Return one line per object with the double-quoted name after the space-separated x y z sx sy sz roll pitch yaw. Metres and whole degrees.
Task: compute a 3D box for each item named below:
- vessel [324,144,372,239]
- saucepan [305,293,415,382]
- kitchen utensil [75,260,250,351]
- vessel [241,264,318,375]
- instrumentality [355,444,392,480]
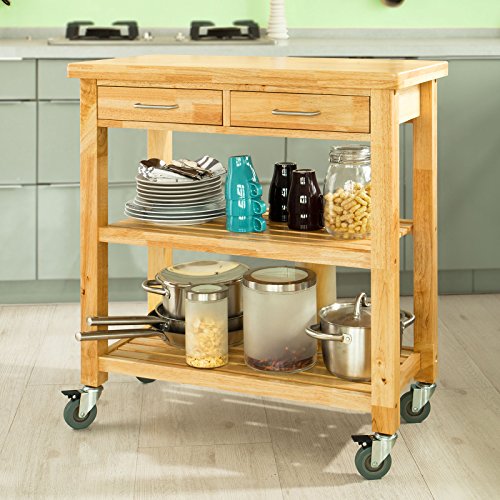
0.236 -0.126 1.170 0.137 0.187 0.124 4 9 9 "vessel"
0.251 0.189 1.189 0.281 0.173 0.169 -8 12 -34 "saucepan"
-0.214 0.128 1.355 0.414 0.118 0.197 -4 12 -27 "kitchen utensil"
0.073 0.176 1.299 0.197 0.191 0.184 0 -1 -17 "vessel"
0.250 0.435 1.090 0.078 0.068 0.024 -14 0 -9 "instrumentality"
